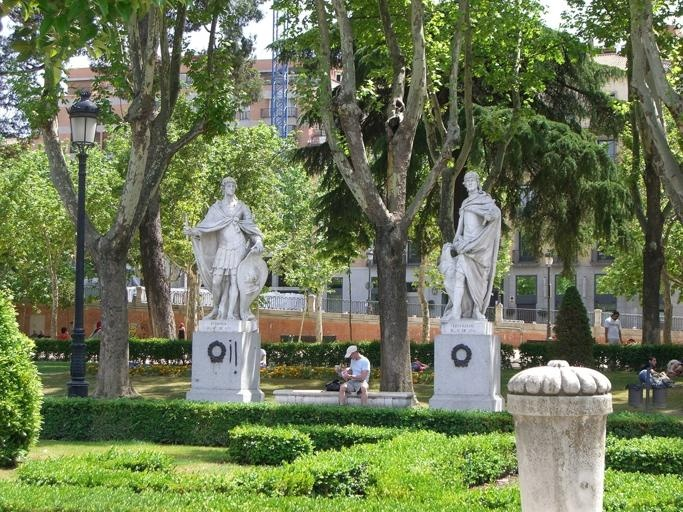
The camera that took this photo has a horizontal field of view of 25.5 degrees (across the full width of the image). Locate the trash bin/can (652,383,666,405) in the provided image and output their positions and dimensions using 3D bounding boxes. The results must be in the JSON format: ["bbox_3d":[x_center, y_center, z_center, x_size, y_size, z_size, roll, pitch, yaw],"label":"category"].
[{"bbox_3d":[8.988,3.969,42.759,0.473,0.794,0.475,2,-9,-2],"label":"trash bin/can"}]

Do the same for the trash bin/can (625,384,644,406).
[{"bbox_3d":[8.255,3.939,42.789,0.518,0.642,0.526,-3,-6,36],"label":"trash bin/can"}]
